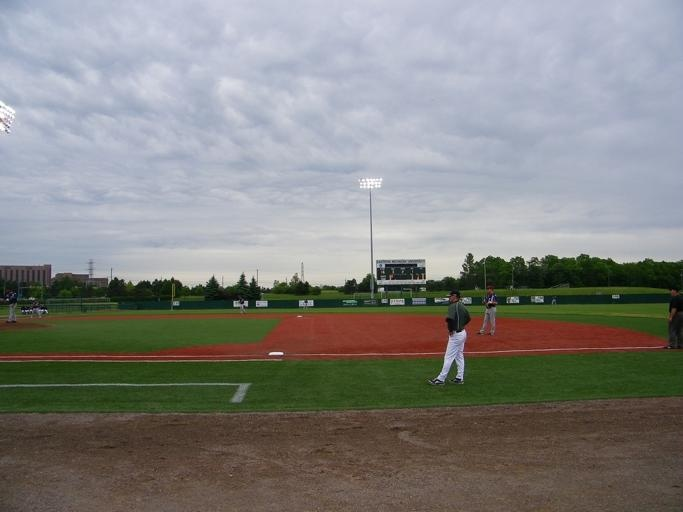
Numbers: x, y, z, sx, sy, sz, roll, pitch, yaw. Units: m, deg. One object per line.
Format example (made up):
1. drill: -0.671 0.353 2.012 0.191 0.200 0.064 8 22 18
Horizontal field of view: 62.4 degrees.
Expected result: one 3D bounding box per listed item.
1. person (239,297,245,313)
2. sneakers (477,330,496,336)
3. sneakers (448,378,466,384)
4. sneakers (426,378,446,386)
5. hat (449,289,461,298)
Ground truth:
1. person: -8.441 4.177 47.788 0.745 0.730 1.286 -4 -23 -6
2. sneakers: 5.693 3.010 22.111 0.668 0.249 0.190 9 -30 6
3. sneakers: 2.554 2.775 12.538 0.347 0.129 0.117 2 -5 19
4. sneakers: 2.075 2.761 12.382 0.382 0.140 0.138 3 -14 4
5. hat: 2.532 0.834 12.365 0.220 0.234 0.236 11 6 -16
